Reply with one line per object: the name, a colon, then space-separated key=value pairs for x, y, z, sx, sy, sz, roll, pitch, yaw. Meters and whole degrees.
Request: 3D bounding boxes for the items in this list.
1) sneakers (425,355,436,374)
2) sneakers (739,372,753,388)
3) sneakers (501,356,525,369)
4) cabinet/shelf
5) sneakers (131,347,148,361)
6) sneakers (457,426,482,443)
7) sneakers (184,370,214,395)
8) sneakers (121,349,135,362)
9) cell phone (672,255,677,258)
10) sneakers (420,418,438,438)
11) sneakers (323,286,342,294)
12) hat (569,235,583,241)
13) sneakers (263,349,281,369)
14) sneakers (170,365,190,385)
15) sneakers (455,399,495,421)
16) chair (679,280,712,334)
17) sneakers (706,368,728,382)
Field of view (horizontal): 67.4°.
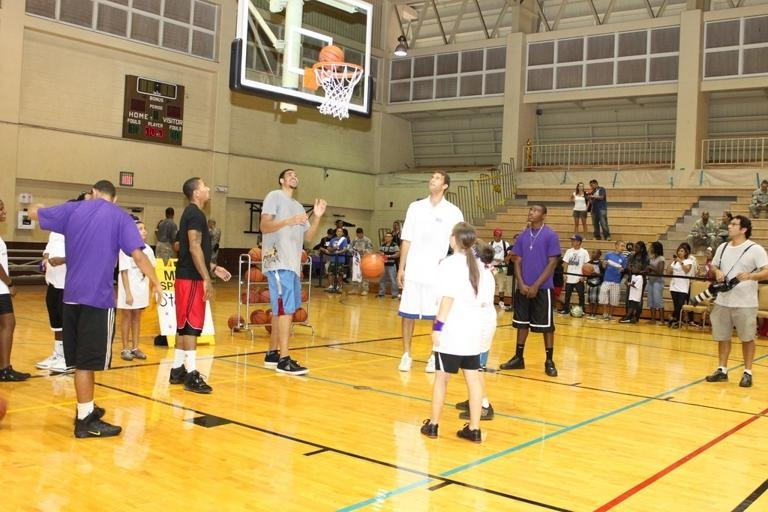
sneakers: x=0.592 y=1.387 z=7.410 sx=0.174 sy=0.220 sz=0.517 roll=-1 pitch=-4 yaw=8
sneakers: x=4.746 y=1.627 z=7.556 sx=0.119 sy=0.111 sz=0.263 roll=2 pitch=14 yaw=23
sneakers: x=1.777 y=1.478 z=8.035 sx=0.340 sy=0.145 sz=0.156 roll=1 pitch=-3 yaw=-14
cabinet/shelf: x=-1.888 y=0.717 z=10.194 sx=1.298 sy=1.435 sz=0.788 roll=2 pitch=1 yaw=-31
sneakers: x=-3.295 y=1.312 z=7.749 sx=0.105 sy=0.110 sz=0.276 roll=-4 pitch=4 yaw=-44
sneakers: x=0.790 y=1.645 z=5.378 sx=0.096 sy=0.106 sz=0.257 roll=1 pitch=1 yaw=-32
sneakers: x=-2.073 y=1.360 z=6.364 sx=0.398 sy=0.227 sz=0.167 roll=4 pitch=4 yaw=27
sneakers: x=-3.401 y=1.301 z=7.632 sx=0.093 sy=0.096 sz=0.248 roll=2 pitch=-5 yaw=-32
cell phone: x=7.426 y=-0.006 z=14.736 sx=0.078 sy=0.090 sz=0.239 roll=-1 pitch=-2 yaw=22
sneakers: x=0.418 y=1.596 z=5.405 sx=0.162 sy=0.138 sz=0.182 roll=2 pitch=4 yaw=1
sneakers: x=-1.554 y=1.038 z=17.675 sx=0.200 sy=0.215 sz=0.556 roll=-2 pitch=-6 yaw=30
hat: x=4.822 y=-0.454 z=14.446 sx=0.316 sy=0.165 sz=0.217 roll=2 pitch=4 yaw=-4
sneakers: x=-1.475 y=1.356 z=7.591 sx=0.284 sy=0.178 sz=0.151 roll=-1 pitch=4 yaw=-26
sneakers: x=-2.344 y=1.352 z=6.662 sx=0.165 sy=0.197 sz=0.295 roll=2 pitch=3 yaw=17
sneakers: x=0.950 y=1.611 z=6.054 sx=0.184 sy=0.131 sz=0.339 roll=0 pitch=1 yaw=-1
chair: x=7.040 y=1.086 z=12.989 sx=0.566 sy=0.928 sz=0.601 roll=10 pitch=6 yaw=27
sneakers: x=4.558 y=1.607 z=7.832 sx=0.408 sy=0.183 sz=0.136 roll=-1 pitch=0 yaw=-10
